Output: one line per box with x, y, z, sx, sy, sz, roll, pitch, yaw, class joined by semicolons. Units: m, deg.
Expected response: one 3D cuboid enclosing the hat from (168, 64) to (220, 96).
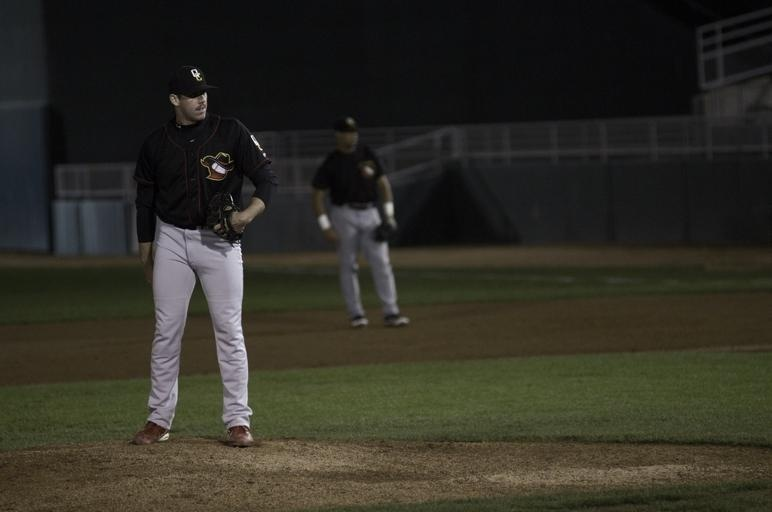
-1.892;-1.704;12.358;0.377;0.276;0.536;-21;17;-39;hat

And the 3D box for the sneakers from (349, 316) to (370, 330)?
-0.295;0.788;14.977;0.244;0.134;0.282;0;-1;-3;sneakers

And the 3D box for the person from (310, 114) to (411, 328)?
-0.298;-0.311;14.434;1.013;2.434;0.541;-1;13;2;person

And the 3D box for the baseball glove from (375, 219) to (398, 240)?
-0.011;-0.271;14.276;0.183;0.225;0.234;51;-15;-30;baseball glove

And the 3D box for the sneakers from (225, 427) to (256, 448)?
-1.408;1.738;12.357;0.300;0.209;0.210;-3;12;-8;sneakers

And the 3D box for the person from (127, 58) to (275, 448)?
-1.802;0.025;12.336;1.365;3.636;0.888;-3;13;-5;person

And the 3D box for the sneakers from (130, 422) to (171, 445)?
-2.249;1.736;12.405;0.433;0.164;0.158;3;-2;-28;sneakers

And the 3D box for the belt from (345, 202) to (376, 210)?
-0.281;-0.559;14.281;0.317;0.080;0.054;-3;12;-11;belt

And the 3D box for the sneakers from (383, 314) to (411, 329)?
0.078;0.766;14.829;0.164;0.123;0.289;-8;-3;-34;sneakers
